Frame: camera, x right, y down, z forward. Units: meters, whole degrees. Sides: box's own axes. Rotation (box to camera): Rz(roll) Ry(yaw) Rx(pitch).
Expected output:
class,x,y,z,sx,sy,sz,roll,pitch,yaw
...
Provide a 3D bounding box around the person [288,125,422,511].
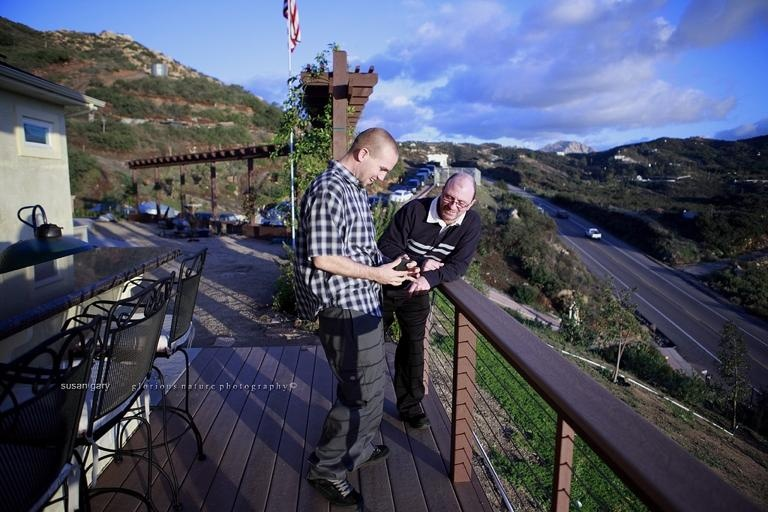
class,x,y,z,sx,sy,sz,roll,pitch,yaw
person,-0.228,0.348,2.680,0.663,2.172,0.651,15,18,25

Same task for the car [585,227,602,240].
class,x,y,z,sx,sy,sz,roll,pitch,yaw
car,20.536,-2.185,43.700,0.893,0.701,2.013,-1,16,17

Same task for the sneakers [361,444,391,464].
class,x,y,z,sx,sy,sz,roll,pitch,yaw
sneakers,-0.043,1.297,2.968,0.211,0.104,0.077,-18,34,-39
